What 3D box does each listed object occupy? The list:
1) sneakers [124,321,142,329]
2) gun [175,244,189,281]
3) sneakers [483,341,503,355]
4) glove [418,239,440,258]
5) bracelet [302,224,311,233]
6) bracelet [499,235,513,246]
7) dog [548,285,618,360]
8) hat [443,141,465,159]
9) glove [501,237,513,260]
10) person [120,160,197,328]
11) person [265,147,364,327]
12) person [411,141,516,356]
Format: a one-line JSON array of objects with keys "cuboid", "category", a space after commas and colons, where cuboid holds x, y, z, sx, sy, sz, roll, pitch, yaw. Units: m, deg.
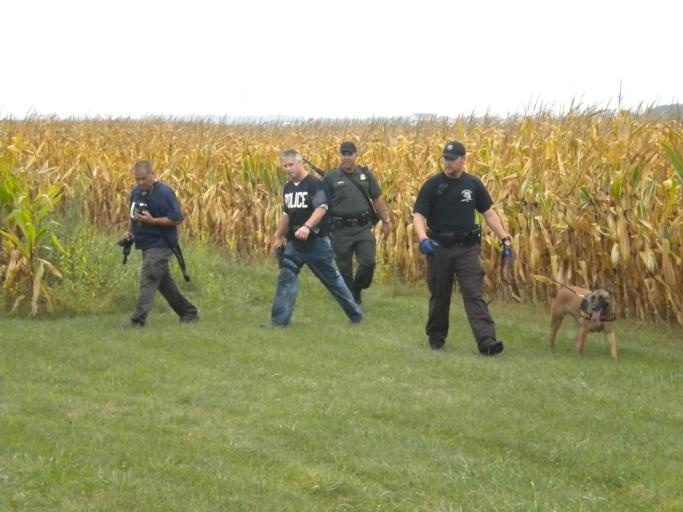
[{"cuboid": [-2.586, 0.841, 8.798, 0.226, 0.097, 0.219, 0, 12, -7], "category": "sneakers"}, {"cuboid": [-2.353, 0.114, 10.429, 0.140, 0.564, 0.137, 14, 36, 42], "category": "gun"}, {"cuboid": [1.728, 1.034, 7.939, 0.108, 0.144, 0.284, 18, -29, -40], "category": "sneakers"}, {"cuboid": [0.988, -0.096, 8.033, 0.196, 0.230, 0.409, 3, 12, 8], "category": "glove"}, {"cuboid": [-0.429, -0.341, 8.685, 0.023, 0.094, 0.087, -26, 25, -25], "category": "bracelet"}, {"cuboid": [1.898, -0.180, 8.219, 0.078, 0.107, 0.253, -1, -5, 0], "category": "bracelet"}, {"cuboid": [2.663, 0.699, 8.047, 0.315, 0.727, 1.028, -5, 9, -26], "category": "dog"}, {"cuboid": [1.257, -1.196, 7.966, 0.152, 0.146, 0.241, 8, 14, 23], "category": "hat"}, {"cuboid": [1.886, -0.090, 8.118, 0.073, 0.250, 0.166, 2, -2, -10], "category": "glove"}, {"cuboid": [-2.310, -0.152, 9.030, 0.740, 2.090, 0.668, -2, 11, -14], "category": "person"}, {"cuboid": [-0.443, -0.230, 9.247, 0.807, 2.298, 1.225, 10, 14, 40], "category": "person"}, {"cuboid": [1.349, -0.069, 8.174, 1.059, 2.464, 0.771, 3, 11, 9], "category": "person"}]
